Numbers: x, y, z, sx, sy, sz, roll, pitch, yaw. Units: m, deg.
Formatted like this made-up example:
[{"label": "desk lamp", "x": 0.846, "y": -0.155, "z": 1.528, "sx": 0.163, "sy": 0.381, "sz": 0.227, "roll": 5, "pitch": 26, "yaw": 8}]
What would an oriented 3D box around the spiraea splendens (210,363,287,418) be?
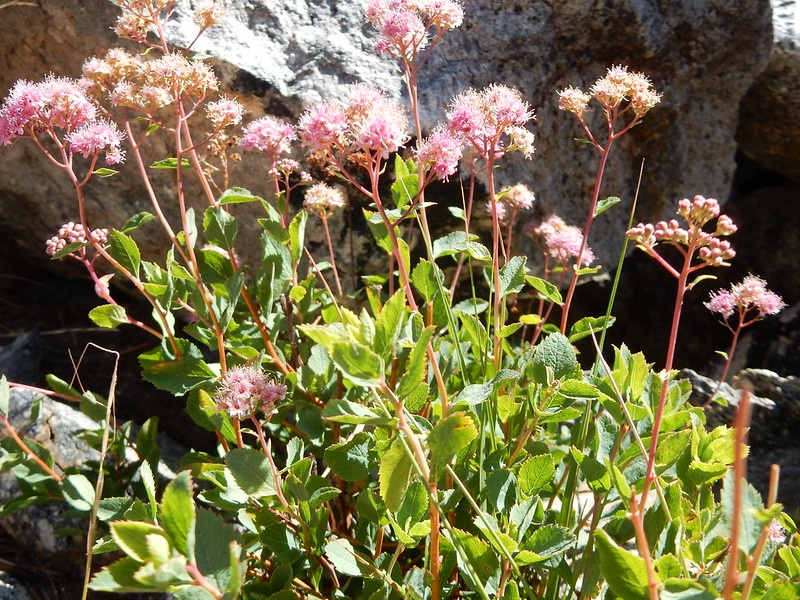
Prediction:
[{"label": "spiraea splendens", "x": -0.512, "y": 0.316, "z": 3.426, "sx": 0.186, "sy": 0.123, "sz": 0.198, "roll": 14, "pitch": 37, "yaw": 17}]
